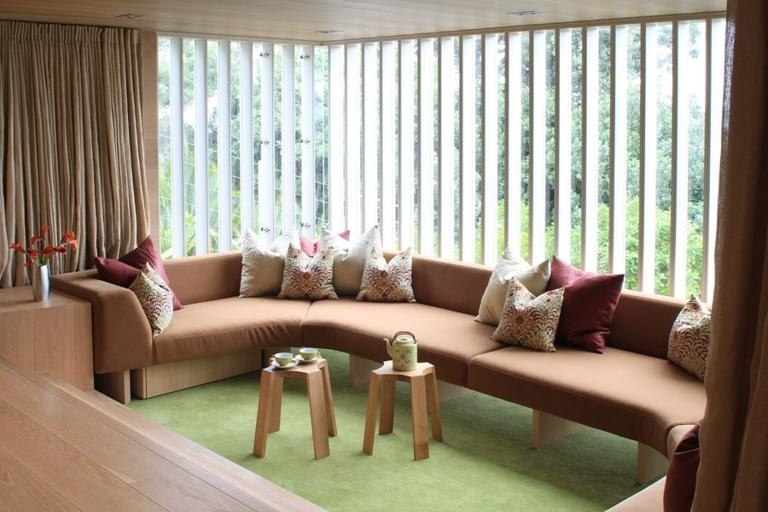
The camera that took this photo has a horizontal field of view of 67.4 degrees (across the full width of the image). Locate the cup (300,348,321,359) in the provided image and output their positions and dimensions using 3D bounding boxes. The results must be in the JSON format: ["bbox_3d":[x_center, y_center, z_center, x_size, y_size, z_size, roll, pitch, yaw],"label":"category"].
[{"bbox_3d":[-0.477,0.613,3.661,0.096,0.042,0.079,7,9,28],"label":"cup"}]

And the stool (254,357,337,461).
[{"bbox_3d":[-0.563,0.928,3.670,0.489,0.550,0.444,1,13,5],"label":"stool"}]

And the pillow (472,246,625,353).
[{"bbox_3d":[1.131,0.325,4.110,0.947,0.535,0.631,9,16,37],"label":"pillow"}]

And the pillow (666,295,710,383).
[{"bbox_3d":[1.818,0.484,3.441,0.198,0.442,0.504,6,15,26],"label":"pillow"}]

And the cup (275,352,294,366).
[{"bbox_3d":[-0.629,0.633,3.622,0.092,0.057,0.075,13,17,36],"label":"cup"}]

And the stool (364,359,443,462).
[{"bbox_3d":[0.178,0.948,3.743,0.581,0.657,0.569,0,-1,22],"label":"stool"}]

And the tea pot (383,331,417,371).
[{"bbox_3d":[0.116,0.590,3.627,0.182,0.208,0.185,0,13,0],"label":"tea pot"}]

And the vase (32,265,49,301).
[{"bbox_3d":[-2.457,0.188,4.119,0.095,0.244,0.154,-6,14,-20],"label":"vase"}]
